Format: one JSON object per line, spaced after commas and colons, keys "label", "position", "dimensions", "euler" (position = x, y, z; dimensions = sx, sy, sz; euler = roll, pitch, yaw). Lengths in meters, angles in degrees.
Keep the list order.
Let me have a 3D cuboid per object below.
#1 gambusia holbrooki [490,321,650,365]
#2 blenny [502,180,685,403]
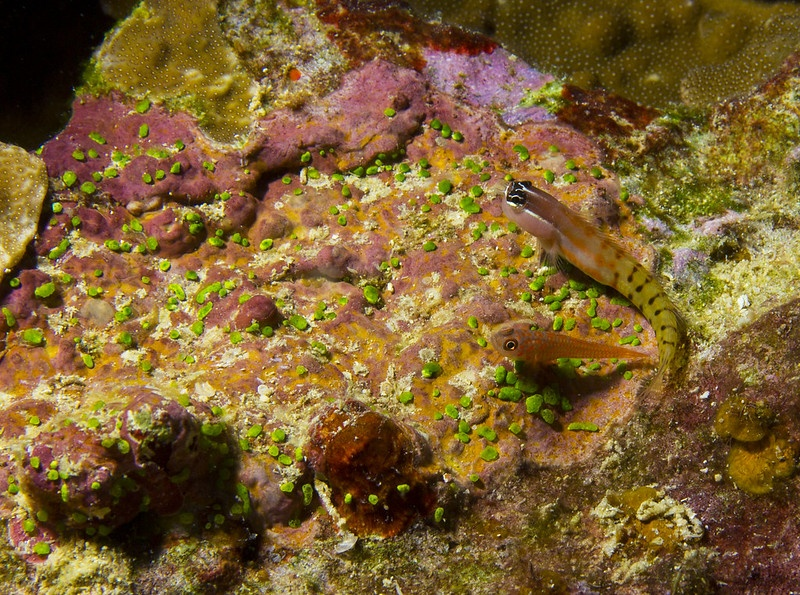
{"label": "gambusia holbrooki", "position": [1.177, 0.313, 7.499], "dimensions": [1.078, 0.312, 0.266], "euler": [13, 15, -2]}
{"label": "blenny", "position": [1.480, -0.188, 7.569], "dimensions": [1.999, 0.882, 0.593], "euler": [23, 75, -14]}
